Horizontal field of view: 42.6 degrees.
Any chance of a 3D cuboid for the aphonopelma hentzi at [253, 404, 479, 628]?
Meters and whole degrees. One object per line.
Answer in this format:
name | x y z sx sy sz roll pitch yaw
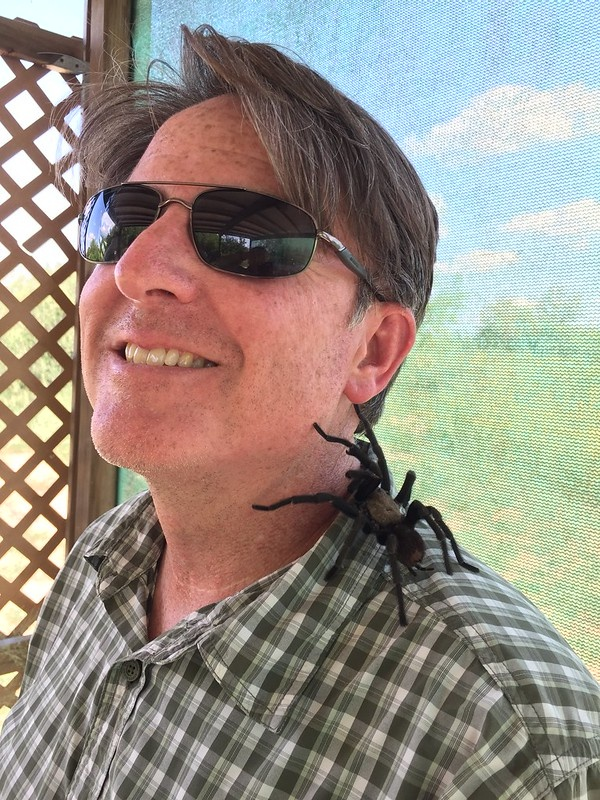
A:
aphonopelma hentzi | 0.128 0.164 1.152 0.307 0.277 0.394 5 15 20
